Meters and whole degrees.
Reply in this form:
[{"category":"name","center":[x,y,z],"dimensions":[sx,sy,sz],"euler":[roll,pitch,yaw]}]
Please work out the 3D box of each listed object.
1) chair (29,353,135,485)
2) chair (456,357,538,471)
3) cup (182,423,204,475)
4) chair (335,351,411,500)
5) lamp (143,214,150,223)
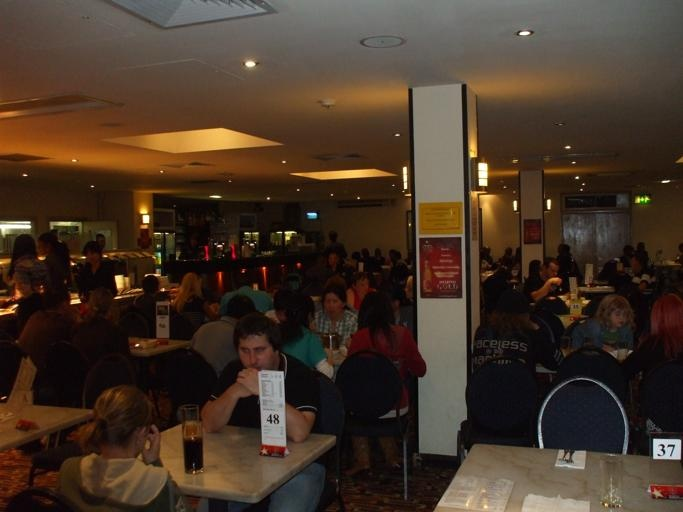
[{"category":"chair","center":[-1.727,1.072,3.800],"dimensions":[0.390,0.761,0.495],"euler":[-1,-12,10]},{"category":"chair","center":[1.112,1.150,3.906],"dimensions":[0.586,1.026,0.620],"euler":[-2,-1,17]},{"category":"cup","center":[-0.713,0.911,2.631],"dimensions":[0.097,0.187,0.082],"euler":[-1,1,-6]},{"category":"chair","center":[0.201,1.210,3.946],"dimensions":[0.647,1.071,0.645],"euler":[0,-12,-9]},{"category":"lamp","center":[-5.274,-1.011,14.788],"dimensions":[0.243,0.302,0.146],"euler":[0,-3,-24]}]
